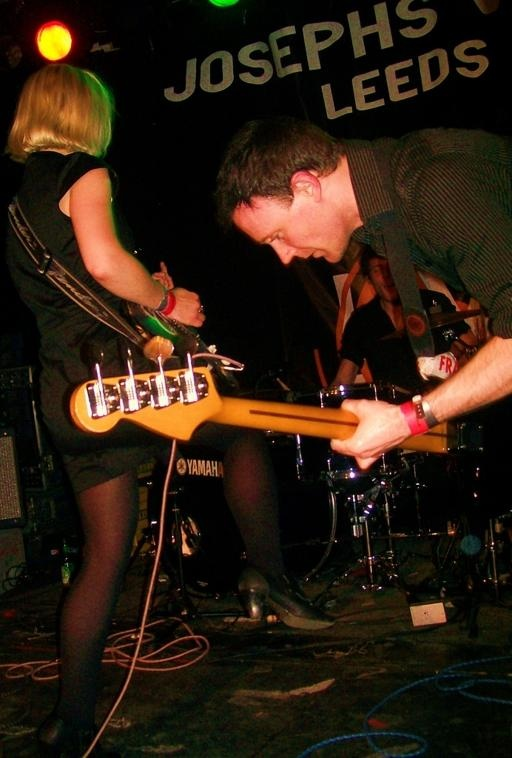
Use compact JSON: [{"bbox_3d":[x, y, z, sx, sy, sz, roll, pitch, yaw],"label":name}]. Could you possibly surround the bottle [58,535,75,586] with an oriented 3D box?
[{"bbox_3d":[-1.135,1.093,4.022,0.085,0.296,0.233,0,-2,0],"label":"bottle"}]
